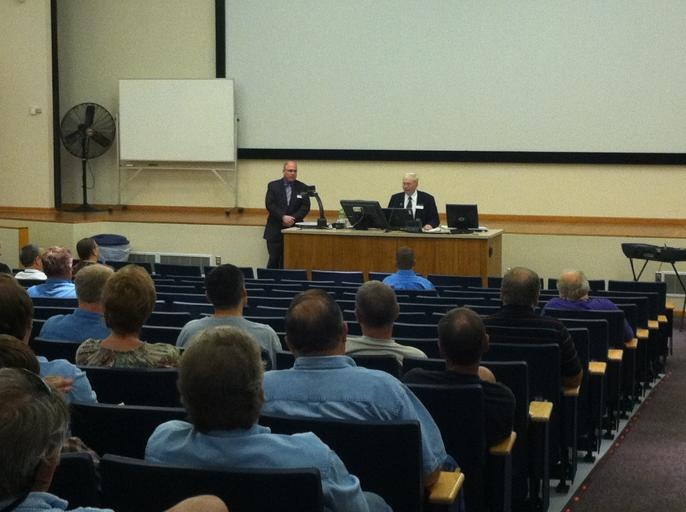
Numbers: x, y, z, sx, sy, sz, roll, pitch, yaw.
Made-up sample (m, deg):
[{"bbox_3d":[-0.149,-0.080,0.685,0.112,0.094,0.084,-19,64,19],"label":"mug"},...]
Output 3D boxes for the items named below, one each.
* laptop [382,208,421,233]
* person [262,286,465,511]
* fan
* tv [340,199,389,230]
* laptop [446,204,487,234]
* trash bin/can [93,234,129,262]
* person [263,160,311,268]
[{"bbox_3d":[0.691,-0.425,8.727,0.517,0.214,0.214,3,2,42],"label":"laptop"},{"bbox_3d":[0.087,0.556,2.819,0.646,0.705,0.275,4,30,16],"label":"person"},{"bbox_3d":[-4.353,-1.687,12.580,0.983,1.852,0.834,2,1,37],"label":"fan"},{"bbox_3d":[0.252,-0.482,8.780,0.554,0.257,0.419,2,1,9],"label":"tv"},{"bbox_3d":[1.380,-0.482,8.559,0.322,0.383,0.313,1,6,17],"label":"laptop"},{"bbox_3d":[-3.163,-0.105,9.998,0.266,0.309,0.304,1,8,0],"label":"trash bin/can"},{"bbox_3d":[-0.761,-0.551,10.016,0.551,0.975,0.856,1,1,-29],"label":"person"}]
